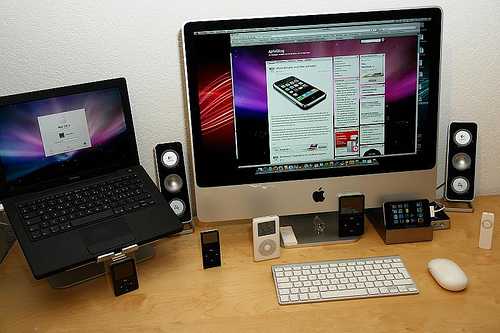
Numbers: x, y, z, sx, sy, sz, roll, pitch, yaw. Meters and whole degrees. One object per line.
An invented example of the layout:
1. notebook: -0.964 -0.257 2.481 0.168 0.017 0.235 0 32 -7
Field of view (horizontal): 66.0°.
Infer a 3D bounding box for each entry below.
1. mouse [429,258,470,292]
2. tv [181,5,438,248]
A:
1. mouse: 0.600 0.327 1.170 0.089 0.067 0.104 -11 13 -31
2. tv: 0.215 -0.142 1.278 0.896 0.683 0.196 -3 20 -7
